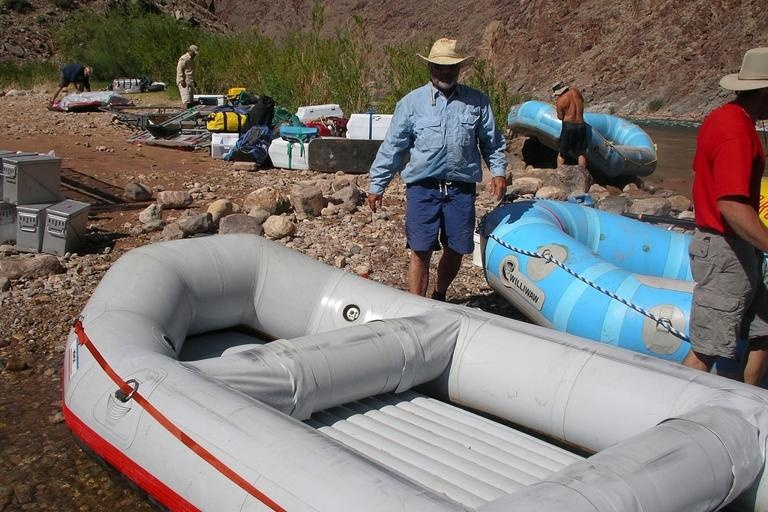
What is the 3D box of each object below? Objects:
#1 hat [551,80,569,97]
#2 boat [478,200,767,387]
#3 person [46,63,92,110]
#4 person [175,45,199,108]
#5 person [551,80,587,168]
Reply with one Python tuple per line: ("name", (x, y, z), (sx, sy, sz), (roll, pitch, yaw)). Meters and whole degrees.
("hat", (3.084, -2.905, 9.794), (0.327, 0.164, 0.245), (-48, 23, -14))
("boat", (1.631, 0.151, 4.438), (1.834, 0.569, 1.217), (19, 23, 39))
("person", (-9.267, -5.136, 16.801), (1.036, 1.316, 3.909), (-5, 18, -26))
("person", (-4.933, -4.553, 14.254), (0.485, 1.536, 1.440), (-3, 16, -17))
("person", (3.177, -2.258, 9.670), (0.685, 1.451, 1.613), (7, 16, 15))
